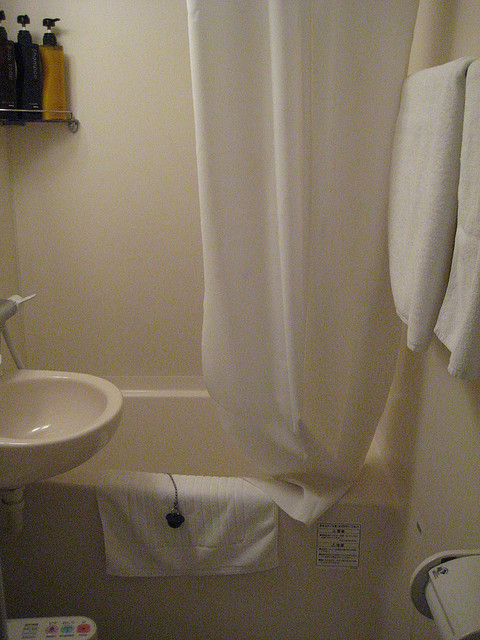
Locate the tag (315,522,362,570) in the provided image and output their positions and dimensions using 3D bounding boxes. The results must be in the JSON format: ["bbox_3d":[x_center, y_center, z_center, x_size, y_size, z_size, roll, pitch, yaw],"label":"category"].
[{"bbox_3d":[0.268,0.619,1.427,0.095,0.163,0.035,0,6,-6],"label":"tag"}]

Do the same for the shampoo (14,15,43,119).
[{"bbox_3d":[-0.671,-0.797,1.664,0.056,0.073,0.331,5,-77,15],"label":"shampoo"}]

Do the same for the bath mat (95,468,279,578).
[{"bbox_3d":[-0.131,0.563,1.500,0.502,0.148,0.462,1,-54,-3],"label":"bath mat"}]
